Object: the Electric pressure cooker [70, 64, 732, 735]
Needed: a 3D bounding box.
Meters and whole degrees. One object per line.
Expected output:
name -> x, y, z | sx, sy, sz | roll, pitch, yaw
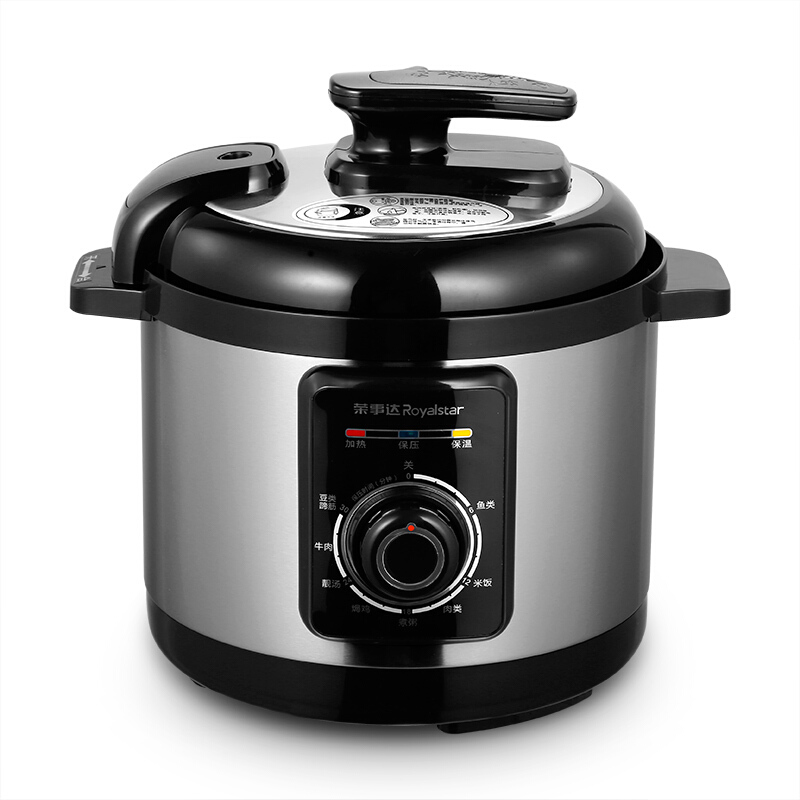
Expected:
Electric pressure cooker -> 0.031, 0.003, 0.920 | 0.527, 0.492, 0.617 | 2, 8, 4
